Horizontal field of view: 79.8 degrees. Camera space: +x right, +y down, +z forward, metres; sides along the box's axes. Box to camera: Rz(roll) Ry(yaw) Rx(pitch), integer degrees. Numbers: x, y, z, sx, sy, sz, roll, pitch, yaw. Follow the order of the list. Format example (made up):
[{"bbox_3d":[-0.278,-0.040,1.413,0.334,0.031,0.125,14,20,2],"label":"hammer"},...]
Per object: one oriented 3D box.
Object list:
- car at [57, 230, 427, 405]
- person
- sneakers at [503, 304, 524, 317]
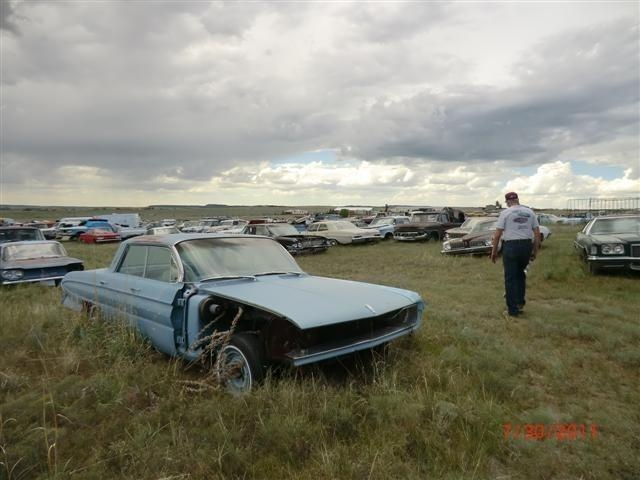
[{"bbox_3d":[-1.207,0.714,5.122,4.482,1.597,1.946,2,6,34],"label":"car"},{"bbox_3d":[3.469,0.214,6.748,0.741,2.114,0.607,-4,6,-21],"label":"person"},{"bbox_3d":[3.370,1.221,6.584,0.162,0.212,0.451,-11,-8,-37],"label":"sneakers"}]
